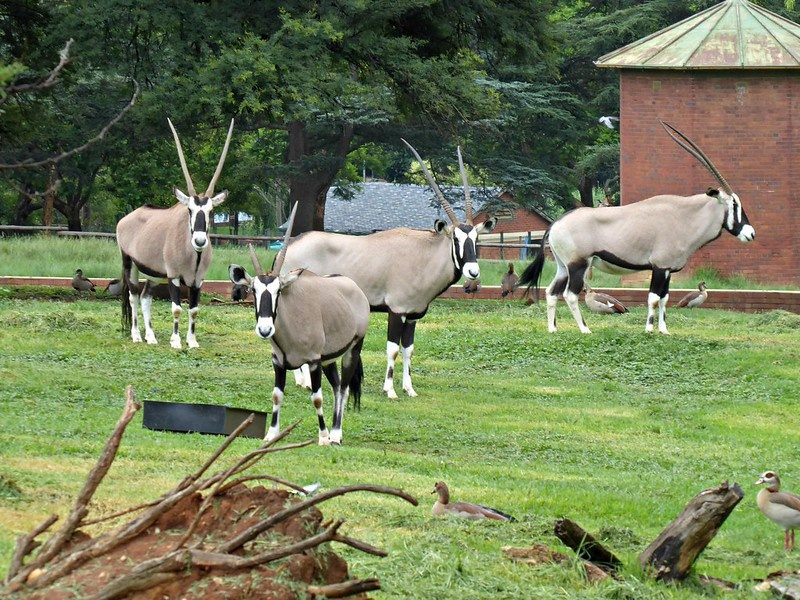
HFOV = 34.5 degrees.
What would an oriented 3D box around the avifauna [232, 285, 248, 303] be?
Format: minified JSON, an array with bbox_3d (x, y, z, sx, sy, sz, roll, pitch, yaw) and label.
[{"bbox_3d":[-3.969,-0.194,32.268,0.242,0.346,0.488,-2,34,14],"label":"avifauna"}]

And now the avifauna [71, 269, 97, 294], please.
[{"bbox_3d":[-8.037,-0.506,33.004,0.563,0.604,0.695,-1,6,-14],"label":"avifauna"}]

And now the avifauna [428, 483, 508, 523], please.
[{"bbox_3d":[0.928,2.643,16.627,1.061,0.623,0.407,6,-4,9],"label":"avifauna"}]
